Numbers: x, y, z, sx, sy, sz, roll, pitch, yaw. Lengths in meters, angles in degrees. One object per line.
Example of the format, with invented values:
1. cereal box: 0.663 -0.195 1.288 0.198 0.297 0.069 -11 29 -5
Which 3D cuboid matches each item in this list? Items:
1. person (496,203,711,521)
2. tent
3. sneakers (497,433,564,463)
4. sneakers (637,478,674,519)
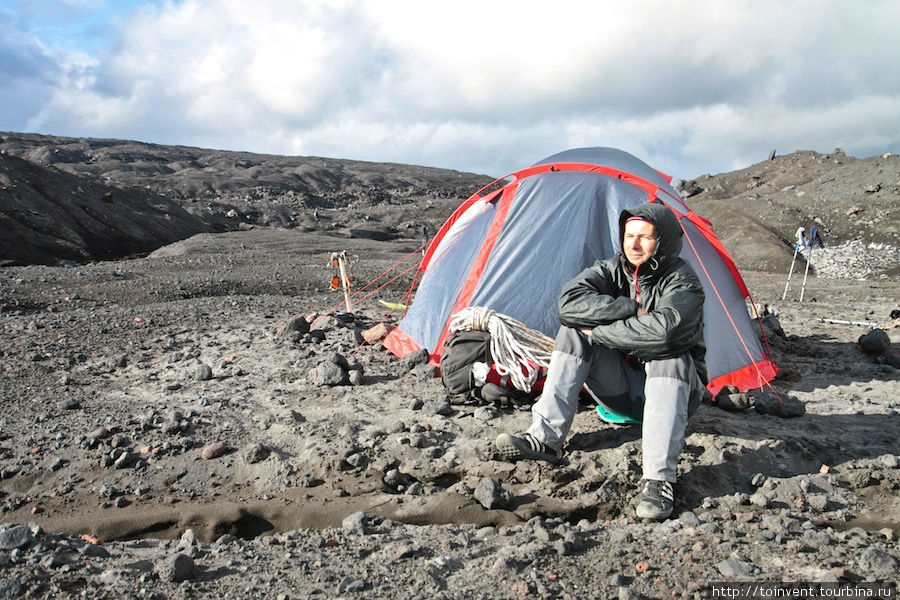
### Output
1. person: 1.569 0.427 5.262 1.188 2.518 1.185 1 12 41
2. tent: 1.689 -0.714 7.406 4.374 2.076 3.580 1 5 13
3. sneakers: 0.700 1.423 5.403 0.671 0.251 0.269 12 -22 -11
4. sneakers: 1.781 1.700 4.967 0.235 0.228 0.638 10 8 24
